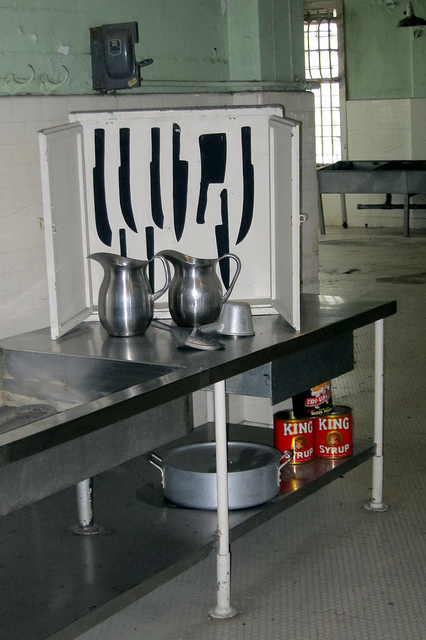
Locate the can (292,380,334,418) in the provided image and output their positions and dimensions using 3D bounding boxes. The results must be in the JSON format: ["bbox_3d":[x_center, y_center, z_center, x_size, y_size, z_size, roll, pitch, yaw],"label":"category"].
[{"bbox_3d":[0.338,0.259,2.168,0.135,0.139,0.131,-5,4,-19],"label":"can"}]

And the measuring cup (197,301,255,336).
[{"bbox_3d":[0.036,-0.004,1.647,0.147,0.059,0.078,-4,6,5],"label":"measuring cup"}]

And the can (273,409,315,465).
[{"bbox_3d":[0.267,0.404,2.117,0.149,0.150,0.145,-2,6,0],"label":"can"}]

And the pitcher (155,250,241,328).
[{"bbox_3d":[-0.045,-0.087,1.782,0.244,0.215,0.138,1,19,0],"label":"pitcher"}]

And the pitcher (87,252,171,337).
[{"bbox_3d":[-0.238,-0.071,1.742,0.243,0.224,0.160,0,10,4],"label":"pitcher"}]

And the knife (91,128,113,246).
[{"bbox_3d":[-0.349,-0.412,1.945,0.085,0.380,0.007,9,18,26],"label":"knife"}]

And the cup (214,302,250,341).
[{"bbox_3d":[0.044,0.010,1.649,0.080,0.063,0.107,8,1,-18],"label":"cup"}]

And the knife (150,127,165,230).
[{"bbox_3d":[-0.188,-0.468,2.037,0.045,0.322,0.050,-5,4,-11],"label":"knife"}]

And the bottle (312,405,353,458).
[{"bbox_3d":[0.413,0.382,2.104,0.151,0.154,0.146,-1,4,-2],"label":"bottle"}]
